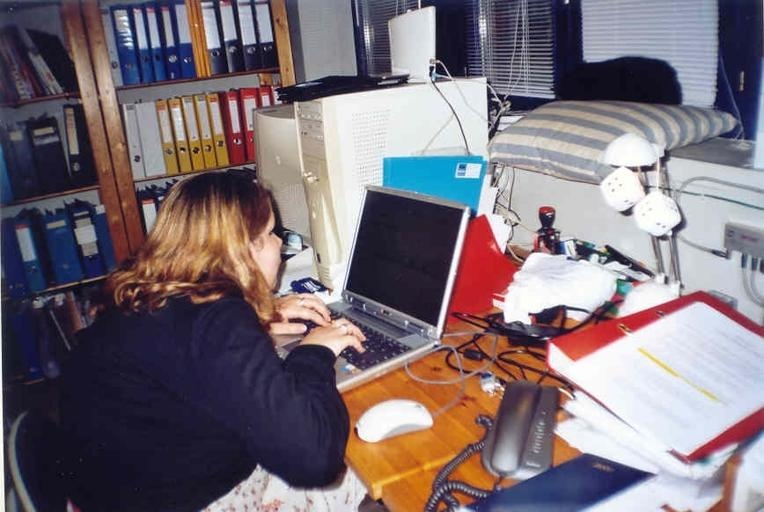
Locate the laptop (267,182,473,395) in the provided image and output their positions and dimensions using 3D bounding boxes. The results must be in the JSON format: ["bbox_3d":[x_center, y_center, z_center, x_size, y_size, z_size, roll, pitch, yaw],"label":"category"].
[{"bbox_3d":[0.028,0.049,1.666,0.573,0.402,0.551,-19,31,-28],"label":"laptop"}]

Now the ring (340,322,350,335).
[{"bbox_3d":[-0.104,0.200,1.548,0.019,0.025,0.011,2,-32,-45],"label":"ring"}]

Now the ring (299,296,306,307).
[{"bbox_3d":[-0.248,0.138,1.706,0.017,0.007,0.023,-1,49,-3],"label":"ring"}]
